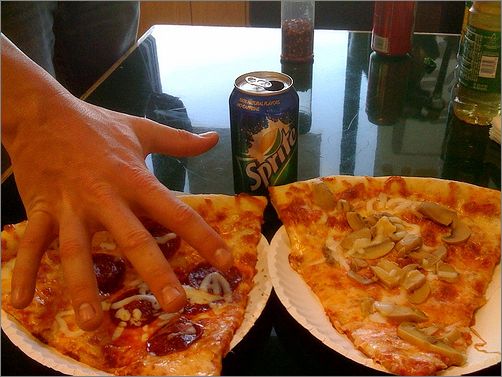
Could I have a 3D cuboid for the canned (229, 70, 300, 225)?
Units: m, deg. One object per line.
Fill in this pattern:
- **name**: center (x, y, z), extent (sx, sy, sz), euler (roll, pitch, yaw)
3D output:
- **canned**: center (0.027, -0.076, 0.824), extent (0.142, 0.272, 0.147), euler (13, 41, 18)
